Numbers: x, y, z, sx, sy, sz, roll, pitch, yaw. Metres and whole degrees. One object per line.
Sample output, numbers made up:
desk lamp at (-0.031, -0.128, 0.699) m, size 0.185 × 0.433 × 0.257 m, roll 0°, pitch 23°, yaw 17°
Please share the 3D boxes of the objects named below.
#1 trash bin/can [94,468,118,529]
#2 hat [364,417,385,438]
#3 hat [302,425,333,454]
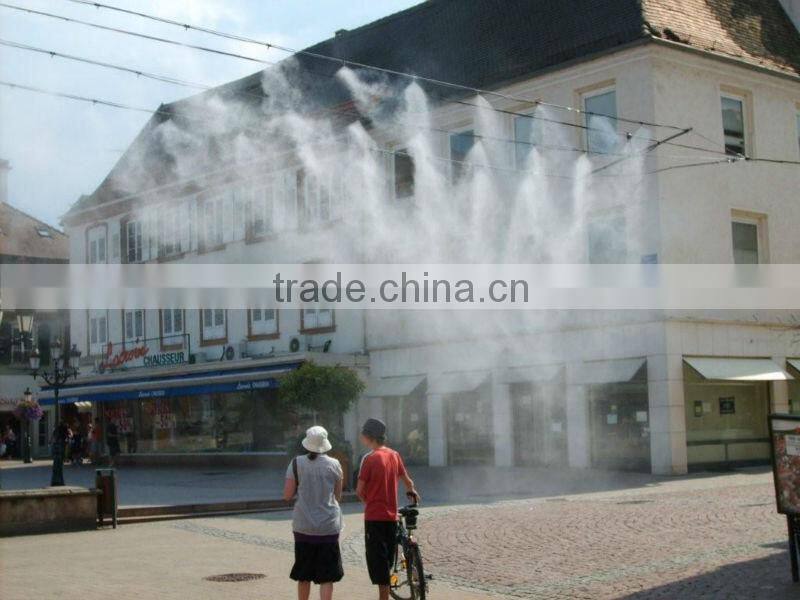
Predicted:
trash bin/can at (-6.490, 4.388, 25.135) m, size 0.450 × 1.252 × 0.940 m, roll -6°, pitch 6°, yaw -14°
hat at (-0.408, 2.014, 17.988) m, size 0.349 × 0.297 × 0.275 m, roll -6°, pitch 5°, yaw -5°
hat at (-1.330, 2.209, 17.933) m, size 0.407 × 0.298 × 0.534 m, roll -2°, pitch 13°, yaw -13°
